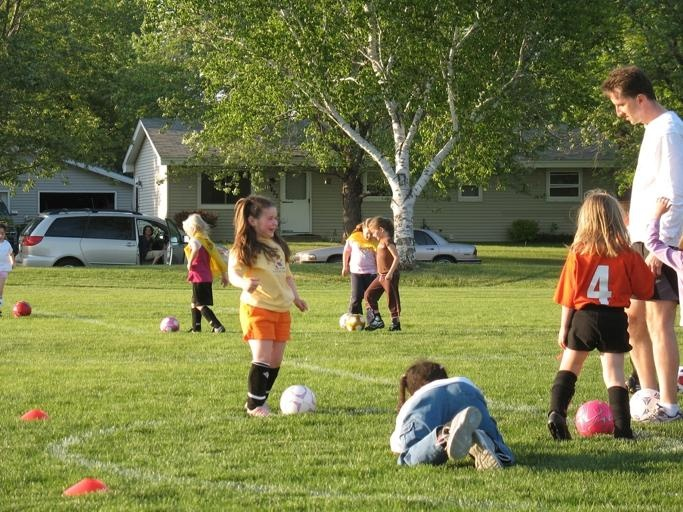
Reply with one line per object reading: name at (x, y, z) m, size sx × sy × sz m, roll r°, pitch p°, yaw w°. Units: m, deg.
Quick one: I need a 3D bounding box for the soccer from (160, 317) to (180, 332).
soccer at (-2.615, 1.036, 17.495) m, size 0.284 × 0.210 × 0.346 m, roll 0°, pitch 7°, yaw -10°

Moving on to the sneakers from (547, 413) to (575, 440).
sneakers at (2.261, 1.777, 11.919) m, size 0.139 × 0.153 × 0.391 m, roll -10°, pitch -33°, yaw 20°

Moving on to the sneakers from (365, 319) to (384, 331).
sneakers at (0.518, 1.075, 17.855) m, size 0.341 × 0.157 × 0.124 m, roll 1°, pitch -1°, yaw -2°

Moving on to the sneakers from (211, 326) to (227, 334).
sneakers at (-1.838, 1.109, 17.256) m, size 0.160 × 0.102 × 0.105 m, roll -3°, pitch -2°, yaw 43°

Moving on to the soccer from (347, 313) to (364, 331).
soccer at (0.223, 1.025, 17.705) m, size 0.239 × 0.233 × 0.240 m, roll 0°, pitch -8°, yaw -6°

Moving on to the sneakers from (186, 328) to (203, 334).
sneakers at (-2.248, 1.124, 17.416) m, size 0.233 × 0.091 × 0.081 m, roll 2°, pitch 0°, yaw 30°

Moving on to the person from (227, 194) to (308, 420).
person at (-0.848, 0.537, 12.854) m, size 0.752 × 2.381 × 0.654 m, roll -1°, pitch 7°, yaw -19°

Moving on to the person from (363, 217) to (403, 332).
person at (0.682, 0.285, 17.641) m, size 0.396 × 1.734 × 0.924 m, roll -2°, pitch 8°, yaw -25°

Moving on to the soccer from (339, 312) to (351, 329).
soccer at (0.075, 1.003, 17.909) m, size 0.170 × 0.171 × 0.211 m, roll -8°, pitch 22°, yaw -23°

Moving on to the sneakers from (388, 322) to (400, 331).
sneakers at (0.830, 1.055, 17.692) m, size 0.176 × 0.141 × 0.323 m, roll 1°, pitch 6°, yaw 2°

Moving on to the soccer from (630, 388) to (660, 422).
soccer at (3.303, 1.638, 12.533) m, size 0.325 × 0.329 × 0.182 m, roll -14°, pitch -19°, yaw 25°

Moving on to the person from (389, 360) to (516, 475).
person at (1.013, 1.634, 11.587) m, size 0.784 × 0.689 × 1.259 m, roll -10°, pitch 10°, yaw -13°

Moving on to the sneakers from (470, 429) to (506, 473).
sneakers at (1.410, 1.944, 11.505) m, size 0.206 × 0.516 × 0.235 m, roll -32°, pitch 8°, yaw 5°

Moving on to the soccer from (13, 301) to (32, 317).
soccer at (-5.294, 0.884, 19.016) m, size 0.245 × 0.246 × 0.247 m, roll 3°, pitch -16°, yaw -18°

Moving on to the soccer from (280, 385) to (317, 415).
soccer at (-0.485, 1.593, 12.749) m, size 0.325 × 0.329 × 0.331 m, roll 8°, pitch 4°, yaw 17°

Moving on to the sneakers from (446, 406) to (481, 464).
sneakers at (1.187, 1.716, 11.334) m, size 0.286 × 0.547 × 0.240 m, roll 30°, pitch -6°, yaw -20°
